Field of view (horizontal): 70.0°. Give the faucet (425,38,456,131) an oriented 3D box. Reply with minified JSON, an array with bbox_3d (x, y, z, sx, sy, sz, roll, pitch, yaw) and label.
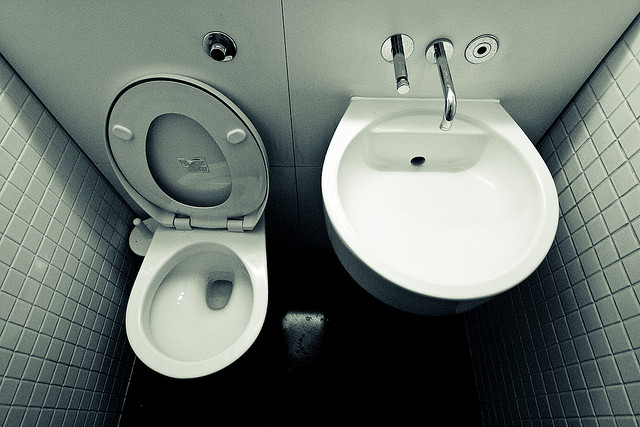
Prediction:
[{"bbox_3d":[0.353,-0.354,1.374,0.095,0.235,0.246,5,50,11],"label":"faucet"}]

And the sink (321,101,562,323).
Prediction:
[{"bbox_3d":[0.351,-0.036,1.381,0.675,0.321,0.599,-5,49,2],"label":"sink"}]
